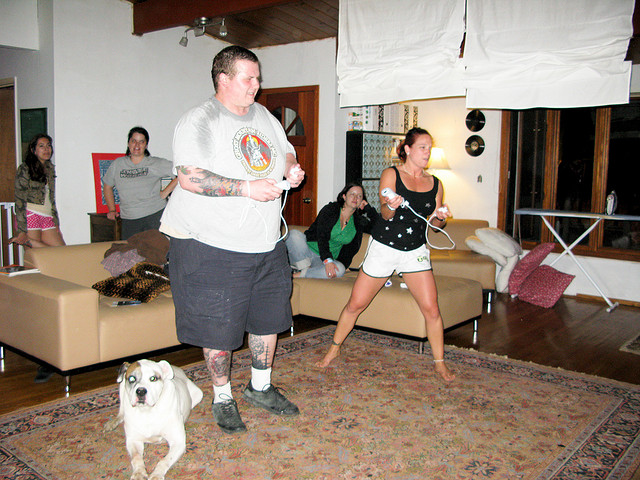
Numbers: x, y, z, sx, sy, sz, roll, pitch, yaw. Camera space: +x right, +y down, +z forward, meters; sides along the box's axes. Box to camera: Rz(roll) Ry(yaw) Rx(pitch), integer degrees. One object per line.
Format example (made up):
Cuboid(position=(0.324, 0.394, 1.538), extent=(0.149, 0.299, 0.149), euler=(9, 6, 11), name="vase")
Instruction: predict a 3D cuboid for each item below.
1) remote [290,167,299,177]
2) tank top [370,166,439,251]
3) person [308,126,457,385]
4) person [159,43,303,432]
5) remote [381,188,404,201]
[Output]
Cuboid(position=(-0.124, -0.327, 2.155), extent=(0.035, 0.028, 0.037), euler=(-3, 13, -13), name="remote")
Cuboid(position=(0.547, -0.207, 2.852), extent=(0.423, 0.504, 0.213), euler=(1, 14, 3), name="tank top")
Cuboid(position=(0.548, 0.026, 3.418), extent=(0.960, 1.730, 1.548), euler=(3, 15, 10), name="person")
Cuboid(position=(-0.430, 0.041, 2.343), extent=(0.690, 1.972, 0.499), euler=(1, 14, 3), name="person")
Cuboid(position=(0.406, -0.261, 2.604), extent=(0.092, 0.036, 0.056), euler=(21, 41, -4), name="remote")
